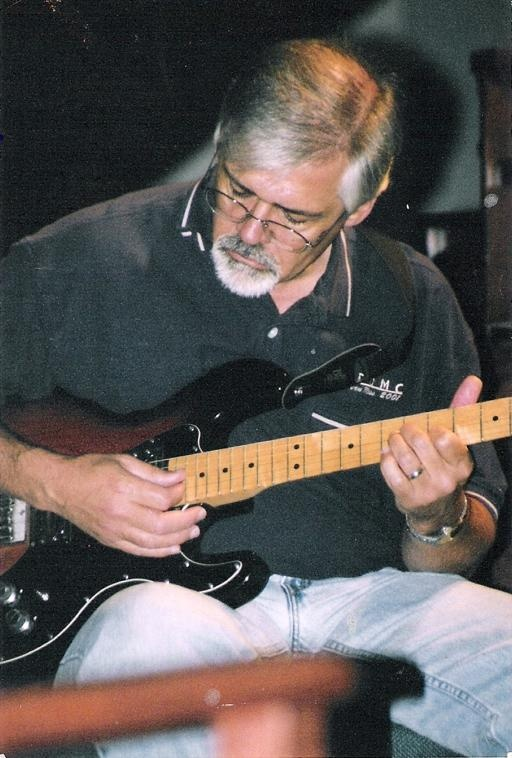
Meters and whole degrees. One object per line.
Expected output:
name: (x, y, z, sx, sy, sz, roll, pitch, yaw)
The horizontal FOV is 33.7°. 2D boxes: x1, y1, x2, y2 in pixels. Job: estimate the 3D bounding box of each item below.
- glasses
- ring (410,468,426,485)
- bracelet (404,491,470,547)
glasses: (0.010, -0.363, 1.802, 0.222, 0.206, 0.078, -2, 18, 29)
ring: (0.309, 0.185, 1.610, 0.021, 0.006, 0.022, -36, -4, -3)
bracelet: (0.382, 0.302, 1.728, 0.117, 0.027, 0.108, -9, 50, 35)
